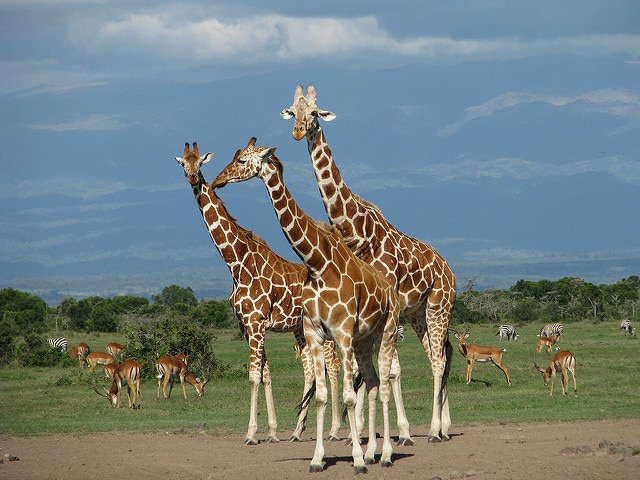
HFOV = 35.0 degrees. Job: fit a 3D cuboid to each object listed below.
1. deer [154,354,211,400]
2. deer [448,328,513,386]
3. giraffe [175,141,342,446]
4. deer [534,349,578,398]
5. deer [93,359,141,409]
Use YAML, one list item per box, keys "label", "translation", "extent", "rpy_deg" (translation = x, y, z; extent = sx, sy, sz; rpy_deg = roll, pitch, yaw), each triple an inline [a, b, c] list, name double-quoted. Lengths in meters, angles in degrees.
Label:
- label: "deer"
  translation: [-5.763, 5.882, 41.993]
  extent: [0.632, 1.936, 2.477]
  rpy_deg: [-27, -41, 37]
- label: "deer"
  translation: [6.851, 5.156, 45.340]
  extent: [1.886, 2.209, 1.882]
  rpy_deg: [-1, -4, -41]
- label: "giraffe"
  translation: [-1.116, 1.758, 36.224]
  extent: [4.101, 11.804, 7.183]
  rpy_deg: [1, 0, -21]
- label: "deer"
  translation: [9.517, 5.496, 41.742]
  extent: [1.430, 1.819, 2.853]
  rpy_deg: [-5, -8, 12]
- label: "deer"
  translation: [-7.672, 5.643, 39.449]
  extent: [0.738, 1.871, 1.956]
  rpy_deg: [0, -5, -33]
